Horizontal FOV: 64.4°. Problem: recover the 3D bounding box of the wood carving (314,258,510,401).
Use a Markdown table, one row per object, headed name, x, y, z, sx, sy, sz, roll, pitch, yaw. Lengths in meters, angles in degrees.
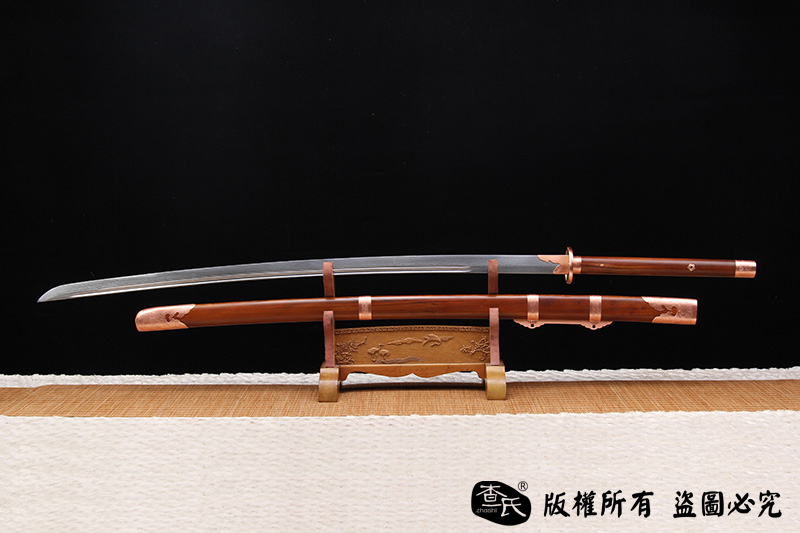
| name | x | y | z | sx | sy | sz | roll | pitch | yaw |
| --- | --- | --- | --- | --- | --- | --- | --- | --- | --- |
| wood carving | 0.069 | 0.341 | 3.409 | 1.071 | 0.570 | 0.324 | 0 | -2 | 3 |
